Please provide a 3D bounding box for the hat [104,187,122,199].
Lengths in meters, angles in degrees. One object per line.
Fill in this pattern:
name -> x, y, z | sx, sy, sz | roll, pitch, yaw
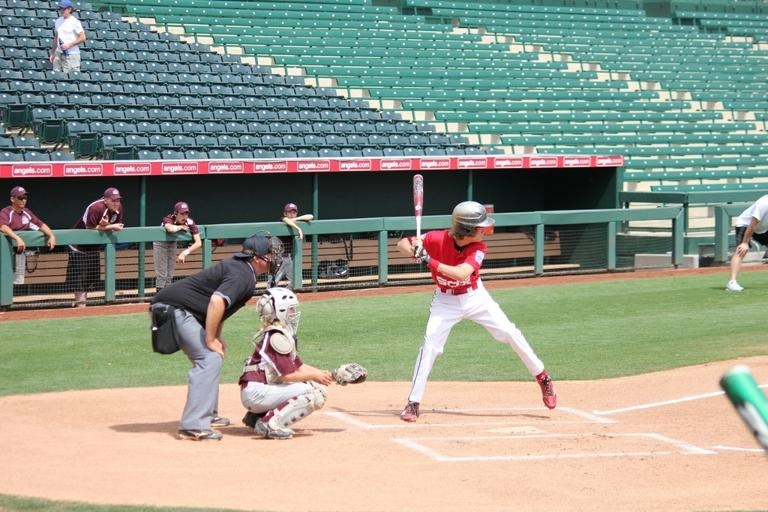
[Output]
hat -> -5.217, -1.190, 21.482 | 0.307, 0.190, 0.428 | -9, 7, -39

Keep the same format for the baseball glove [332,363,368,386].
baseball glove -> -0.454, 1.604, 15.329 | 0.447, 0.172, 0.294 | -5, 9, -29

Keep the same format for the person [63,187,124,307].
person -> -5.563, -0.163, 21.561 | 1.037, 2.244, 0.624 | -1, 4, -11

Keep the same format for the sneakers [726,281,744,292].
sneakers -> 6.983, 0.594, 22.456 | 0.172, 0.149, 0.436 | 4, 5, 42

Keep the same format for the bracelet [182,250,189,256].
bracelet -> -3.877, -0.071, 21.849 | 0.121, 0.042, 0.087 | -32, 22, -3

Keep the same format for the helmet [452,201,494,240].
helmet -> 1.254, -0.530, 15.817 | 0.773, 0.440, 0.498 | 4, 18, 14

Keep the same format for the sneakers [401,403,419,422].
sneakers -> 0.341, 2.170, 15.869 | 0.256, 0.285, 0.281 | -1, 3, 0

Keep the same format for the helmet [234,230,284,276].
helmet -> -1.611, -0.123, 15.500 | 0.744, 0.481, 0.457 | -7, 24, -19

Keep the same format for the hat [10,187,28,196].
hat -> -6.841, -1.195, 20.932 | 0.403, 0.167, 0.250 | 1, 5, 29

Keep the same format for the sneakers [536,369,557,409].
sneakers -> 2.337, 1.936, 16.271 | 0.264, 0.607, 0.299 | -20, -3, 4

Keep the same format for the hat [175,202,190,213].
hat -> -4.020, -0.960, 22.117 | 0.225, 0.143, 0.306 | -7, 5, -40
